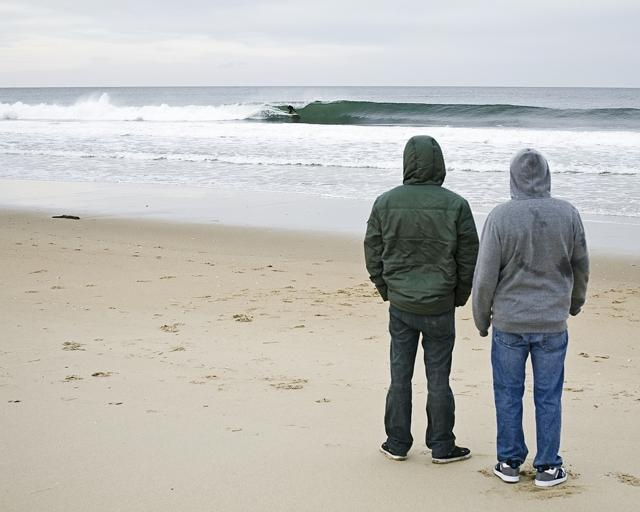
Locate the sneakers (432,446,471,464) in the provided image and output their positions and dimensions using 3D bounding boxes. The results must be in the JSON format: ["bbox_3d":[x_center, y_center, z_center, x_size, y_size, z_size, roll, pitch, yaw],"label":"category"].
[{"bbox_3d":[0.949,1.406,6.524,0.320,0.075,0.105,-3,7,-22],"label":"sneakers"}]

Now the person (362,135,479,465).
[{"bbox_3d":[0.706,0.298,6.481,0.822,2.287,0.468,14,15,42],"label":"person"}]

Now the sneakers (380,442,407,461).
[{"bbox_3d":[0.524,1.388,6.542,0.112,0.070,0.193,-1,10,-21],"label":"sneakers"}]

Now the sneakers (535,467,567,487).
[{"bbox_3d":[1.541,1.480,6.173,0.284,0.083,0.094,-3,4,-32],"label":"sneakers"}]

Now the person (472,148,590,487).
[{"bbox_3d":[1.385,0.409,6.189,0.758,2.250,0.489,5,11,6],"label":"person"}]
